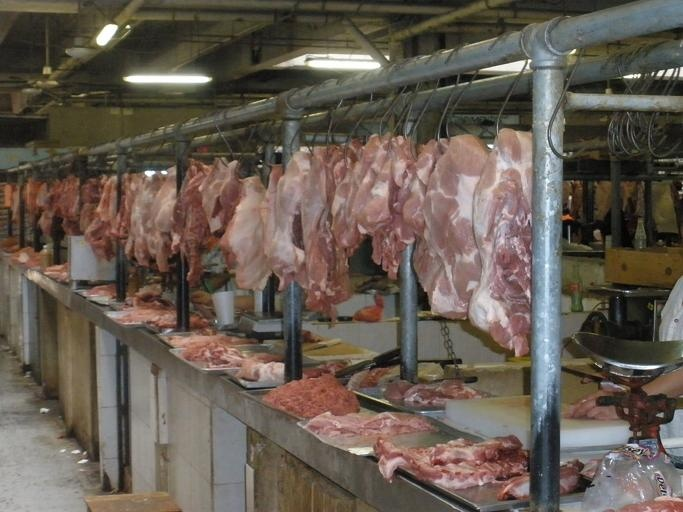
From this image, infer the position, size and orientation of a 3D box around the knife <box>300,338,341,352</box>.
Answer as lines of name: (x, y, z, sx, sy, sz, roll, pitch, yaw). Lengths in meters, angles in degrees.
knife: (-0.148, 0.594, 5.476, 0.345, 0.062, 0.082, -4, -3, -38)

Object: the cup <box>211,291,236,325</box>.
cup: (-0.773, 0.343, 5.406, 0.132, 0.220, 0.289, 1, 1, -9)

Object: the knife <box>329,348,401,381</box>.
knife: (0.123, 0.590, 4.441, 0.327, 0.084, 0.083, -19, 12, 5)
